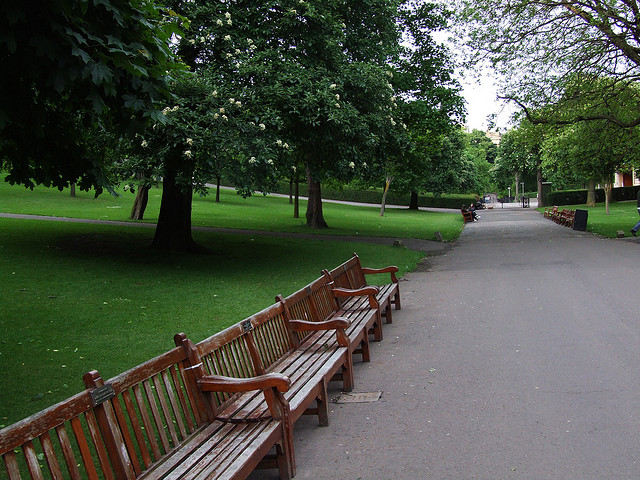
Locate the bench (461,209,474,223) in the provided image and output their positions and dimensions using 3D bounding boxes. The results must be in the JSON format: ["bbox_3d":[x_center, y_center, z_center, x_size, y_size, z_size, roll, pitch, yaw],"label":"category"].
[{"bbox_3d":[13.620,-2.080,42.396,0.746,1.081,0.759,-5,3,19],"label":"bench"}]

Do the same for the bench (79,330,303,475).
[{"bbox_3d":[-1.081,1.491,4.188,0.594,0.878,1.391,-7,2,18],"label":"bench"}]

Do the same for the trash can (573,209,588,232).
[{"bbox_3d":[14.764,-1.138,26.137,0.460,1.148,0.878,1,6,-22],"label":"trash can"}]
